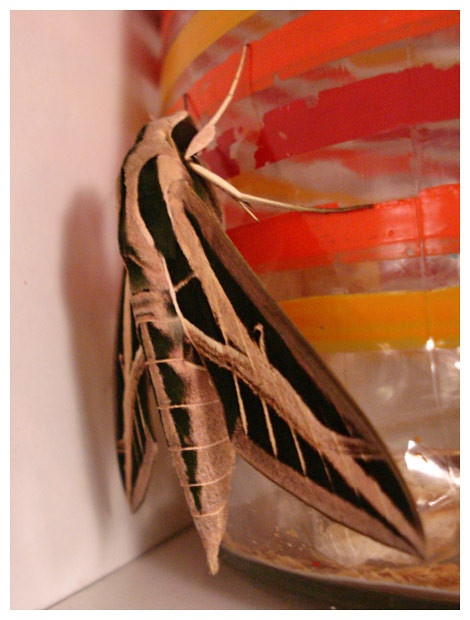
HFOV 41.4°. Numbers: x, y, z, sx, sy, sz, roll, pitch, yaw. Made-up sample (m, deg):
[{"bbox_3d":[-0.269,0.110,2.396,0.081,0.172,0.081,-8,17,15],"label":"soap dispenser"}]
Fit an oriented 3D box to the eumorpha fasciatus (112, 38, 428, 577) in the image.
[{"bbox_3d":[0.055,0.054,1.405,0.402,1.059,0.528,-13,12,-41],"label":"eumorpha fasciatus"}]
